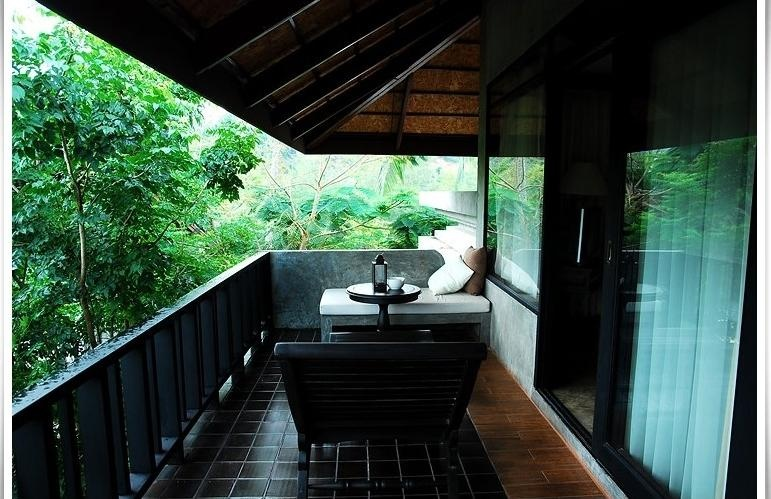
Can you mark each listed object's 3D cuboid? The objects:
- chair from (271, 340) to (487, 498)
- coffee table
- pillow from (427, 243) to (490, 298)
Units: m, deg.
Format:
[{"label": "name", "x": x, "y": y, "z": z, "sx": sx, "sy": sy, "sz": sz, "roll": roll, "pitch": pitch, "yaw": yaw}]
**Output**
[{"label": "chair", "x": -0.065, "y": 0.832, "z": 3.104, "sx": 0.854, "sy": 0.724, "sz": 1.129, "roll": 0, "pitch": 9, "yaw": -1}, {"label": "coffee table", "x": -0.034, "y": 0.579, "z": 4.903, "sx": 0.704, "sy": 0.449, "sz": 0.542, "roll": 1, "pitch": 4, "yaw": 0}, {"label": "pillow", "x": 0.782, "y": 0.200, "z": 5.359, "sx": 0.569, "sy": 0.548, "sz": 0.173, "roll": -10, "pitch": -29, "yaw": 39}]
